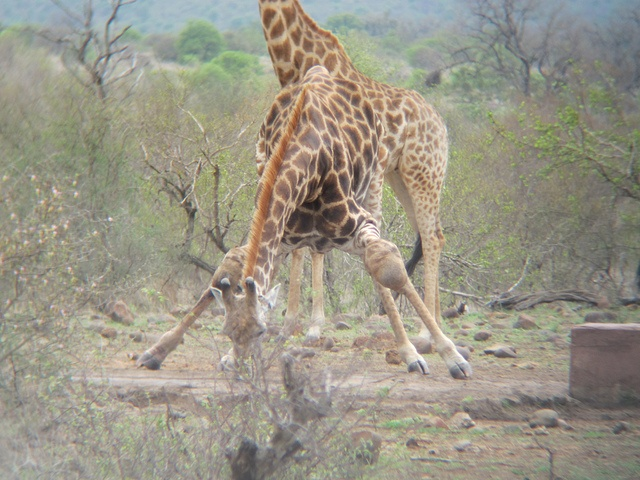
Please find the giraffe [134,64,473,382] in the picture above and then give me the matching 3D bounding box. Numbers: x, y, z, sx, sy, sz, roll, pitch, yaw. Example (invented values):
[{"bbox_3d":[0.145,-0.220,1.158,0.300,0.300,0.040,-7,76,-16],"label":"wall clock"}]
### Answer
[{"bbox_3d":[0.236,-0.105,10.632,3.522,4.101,6.080,-3,20,26],"label":"giraffe"}]
